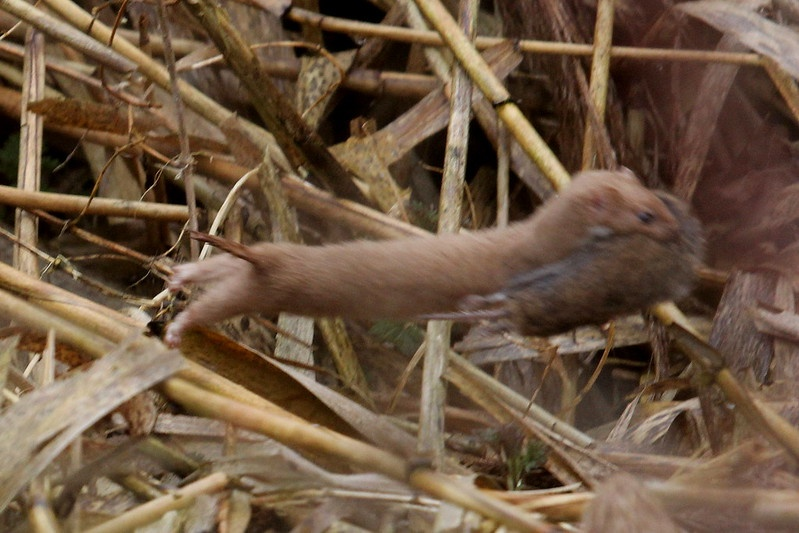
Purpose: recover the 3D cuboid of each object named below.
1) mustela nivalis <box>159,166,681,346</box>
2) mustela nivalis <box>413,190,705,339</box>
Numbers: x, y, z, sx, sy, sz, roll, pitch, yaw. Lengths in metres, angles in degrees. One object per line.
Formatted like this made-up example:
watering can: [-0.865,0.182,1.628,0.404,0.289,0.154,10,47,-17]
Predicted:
mustela nivalis: [0.053,-0.015,3.017,1.067,0.339,0.225,-11,53,11]
mustela nivalis: [0.437,0.012,2.851,0.631,0.307,0.162,-15,43,18]
